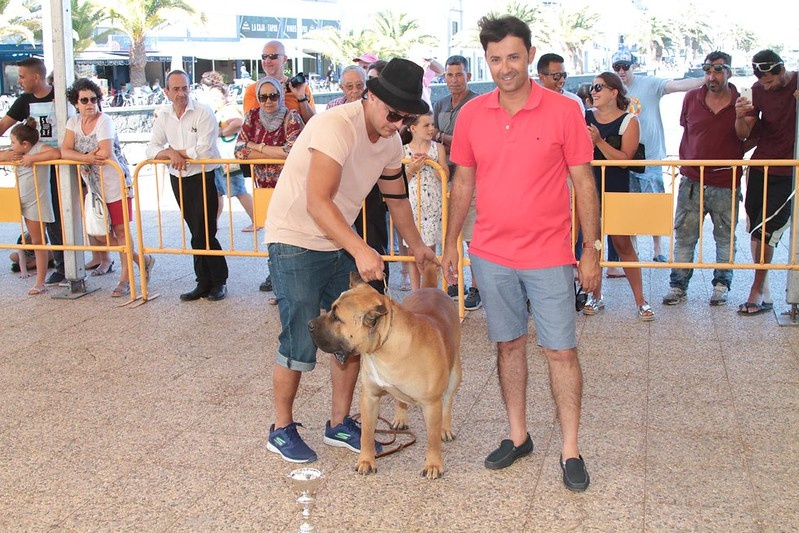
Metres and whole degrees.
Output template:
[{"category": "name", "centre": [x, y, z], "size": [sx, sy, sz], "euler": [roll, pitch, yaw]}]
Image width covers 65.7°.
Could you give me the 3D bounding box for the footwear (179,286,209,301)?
[{"category": "footwear", "centre": [-2.450, 0.332, 7.510], "size": [0.407, 0.148, 0.145], "euler": [-5, 7, -39]}]

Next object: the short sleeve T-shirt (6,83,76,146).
[{"category": "short sleeve T-shirt", "centre": [-4.555, -1.923, 7.922], "size": [1.084, 0.508, 0.245], "euler": [1, 9, -1]}]

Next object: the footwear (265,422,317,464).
[{"category": "footwear", "centre": [-0.753, 1.209, 4.306], "size": [0.202, 0.204, 0.473], "euler": [-3, 6, -43]}]

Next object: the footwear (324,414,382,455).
[{"category": "footwear", "centre": [-0.288, 1.178, 4.409], "size": [0.507, 0.215, 0.175], "euler": [7, 13, 22]}]

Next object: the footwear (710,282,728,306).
[{"category": "footwear", "centre": [3.570, 0.315, 6.911], "size": [0.138, 0.146, 0.367], "euler": [3, 18, 30]}]

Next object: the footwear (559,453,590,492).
[{"category": "footwear", "centre": [1.115, 1.291, 3.971], "size": [0.178, 0.116, 0.339], "euler": [-3, 19, 3]}]

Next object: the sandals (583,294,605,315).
[{"category": "sandals", "centre": [2.164, 0.425, 6.847], "size": [0.138, 0.142, 0.358], "euler": [0, 1, 33]}]

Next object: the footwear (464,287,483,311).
[{"category": "footwear", "centre": [0.827, 0.373, 7.031], "size": [0.192, 0.205, 0.505], "euler": [3, 10, 13]}]

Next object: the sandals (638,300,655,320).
[{"category": "sandals", "centre": [2.613, 0.481, 6.544], "size": [0.169, 0.153, 0.194], "euler": [3, 12, 17]}]

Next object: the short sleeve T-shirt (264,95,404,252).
[{"category": "short sleeve T-shirt", "centre": [-0.364, -0.580, 4.141], "size": [0.584, 0.930, 0.960], "euler": [14, 4, 37]}]

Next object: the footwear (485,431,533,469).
[{"category": "footwear", "centre": [0.715, 1.254, 4.198], "size": [0.383, 0.130, 0.138], "euler": [-22, 14, -26]}]

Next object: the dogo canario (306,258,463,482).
[{"category": "dogo canario", "centre": [0.063, 0.690, 4.181], "size": [0.689, 1.148, 1.633], "euler": [2, 5, 24]}]

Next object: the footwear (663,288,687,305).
[{"category": "footwear", "centre": [3.110, 0.342, 7.005], "size": [0.369, 0.153, 0.132], "euler": [-4, 13, -33]}]

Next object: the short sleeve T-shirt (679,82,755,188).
[{"category": "short sleeve T-shirt", "centre": [3.574, -1.487, 7.119], "size": [0.780, 1.053, 0.546], "euler": [6, 27, 20]}]

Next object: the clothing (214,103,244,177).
[{"category": "clothing", "centre": [-3.508, -2.531, 12.237], "size": [0.644, 1.770, 0.645], "euler": [-9, 35, -27]}]

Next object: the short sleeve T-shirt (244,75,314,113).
[{"category": "short sleeve T-shirt", "centre": [-1.693, -2.144, 7.944], "size": [0.715, 0.195, 0.677], "euler": [-5, 8, -27]}]
